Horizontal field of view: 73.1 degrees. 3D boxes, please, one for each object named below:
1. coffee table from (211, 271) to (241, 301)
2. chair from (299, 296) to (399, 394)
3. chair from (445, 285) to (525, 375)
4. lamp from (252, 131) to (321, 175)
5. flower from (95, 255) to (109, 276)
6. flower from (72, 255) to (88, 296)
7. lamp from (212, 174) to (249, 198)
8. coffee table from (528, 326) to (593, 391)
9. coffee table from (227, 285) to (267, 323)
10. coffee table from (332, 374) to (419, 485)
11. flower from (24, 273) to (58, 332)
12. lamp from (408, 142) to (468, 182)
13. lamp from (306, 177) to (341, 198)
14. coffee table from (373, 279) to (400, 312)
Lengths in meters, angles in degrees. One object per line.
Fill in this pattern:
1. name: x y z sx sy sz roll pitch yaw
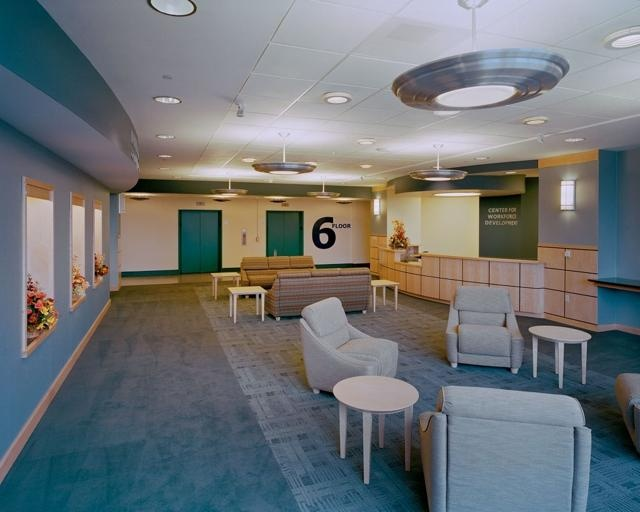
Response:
1. coffee table: -2.530 0.903 11.860 1.027 0.880 0.985 1 -1 -19
2. chair: 0.400 1.132 5.485 1.129 1.005 1.147 2 6 18
3. chair: 2.489 1.050 6.622 1.063 1.027 1.367 1 4 13
4. lamp: -0.534 -1.835 6.878 1.074 0.674 1.034 0 1 -6
5. flower: -4.475 0.192 8.646 0.187 0.388 0.310 5 6 22
6. flower: -3.913 0.347 7.002 0.200 0.648 0.917 -4 3 -29
7. lamp: -2.712 -2.165 12.996 1.004 0.577 0.970 1 -1 -33
8. coffee table: 3.257 1.313 5.830 0.791 0.682 0.819 1 1 2
9. coffee table: -1.557 1.010 9.301 0.832 0.711 0.799 0 0 -14
10. coffee table: 0.517 1.558 3.919 0.740 0.726 0.747 -2 3 5
11. flower: -3.043 0.574 4.684 0.253 0.418 0.567 -4 3 -32
12. lamp: 2.434 -1.958 8.790 1.003 0.669 0.986 2 1 15
13. lamp: 0.201 -2.201 12.984 0.943 0.621 0.909 2 -1 -30
14. coffee table: 1.570 0.959 10.542 0.785 0.691 0.754 0 0 -9
